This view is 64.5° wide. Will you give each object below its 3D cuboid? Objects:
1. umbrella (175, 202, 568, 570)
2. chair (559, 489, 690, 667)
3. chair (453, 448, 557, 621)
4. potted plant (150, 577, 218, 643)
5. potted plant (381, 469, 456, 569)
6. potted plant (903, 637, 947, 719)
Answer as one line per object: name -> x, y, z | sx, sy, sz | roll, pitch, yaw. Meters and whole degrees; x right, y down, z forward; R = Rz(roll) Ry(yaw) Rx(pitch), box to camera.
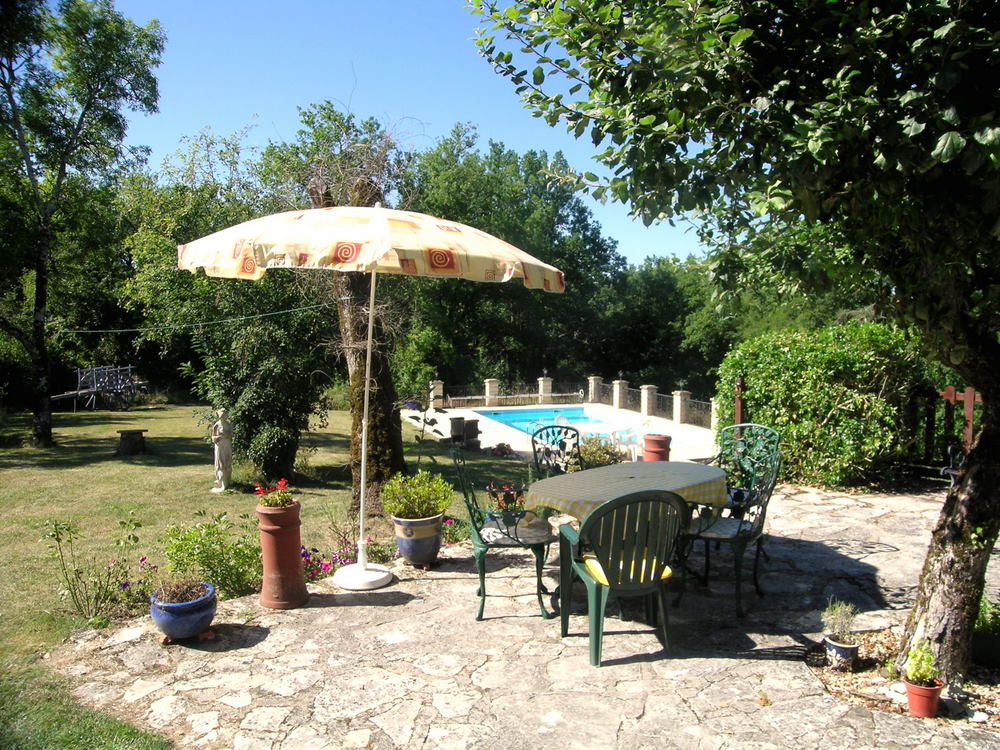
umbrella -> -1.316, -0.175, 8.308 | 3.061, 3.189, 3.136 | 5, 10, 4
chair -> 0.940, 1.639, 7.045 | 1.267, 1.787, 1.273 | 0, 1, -10
chair -> 0.089, 1.587, 7.626 | 0.825, 1.264, 0.897 | -3, -5, 13
potted plant -> -2.716, 2.057, 6.810 | 0.527, 0.387, 0.544 | 4, 8, 15
potted plant -> -0.874, 1.597, 8.540 | 0.721, 0.894, 0.827 | 4, 9, 32
potted plant -> 3.125, 2.257, 5.819 | 0.280, 0.484, 0.160 | 0, 0, -11
